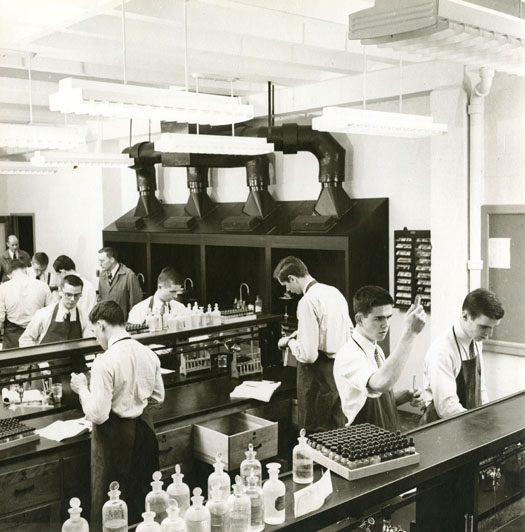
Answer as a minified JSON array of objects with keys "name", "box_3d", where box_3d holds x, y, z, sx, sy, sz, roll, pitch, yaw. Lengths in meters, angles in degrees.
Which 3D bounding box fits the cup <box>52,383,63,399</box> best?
[{"name":"cup","box_3d":[-1.411,0.861,4.855,0.066,0.108,0.080,1,11,-6]}]

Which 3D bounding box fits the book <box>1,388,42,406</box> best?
[{"name":"book","box_3d":[-1.645,0.911,4.879,0.153,0.066,0.177,2,1,-10]}]

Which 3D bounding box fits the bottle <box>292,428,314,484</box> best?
[{"name":"bottle","box_3d":[0.180,0.852,3.246,0.099,0.245,0.175,-3,4,4]}]

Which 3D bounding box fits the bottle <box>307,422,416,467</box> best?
[{"name":"bottle","box_3d":[0.455,0.826,3.291,0.459,0.092,0.344,-7,6,-21]}]

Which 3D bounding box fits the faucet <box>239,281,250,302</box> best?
[{"name":"faucet","box_3d":[-0.237,0.345,9.109,0.139,0.251,0.085,-4,4,-12]}]

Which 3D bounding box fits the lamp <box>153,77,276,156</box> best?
[{"name":"lamp","box_3d":[-0.401,-1.059,5.433,1.587,0.358,0.177,-11,11,-40]}]

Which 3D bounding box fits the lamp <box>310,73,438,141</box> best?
[{"name":"lamp","box_3d":[0.923,-1.134,5.215,0.820,0.424,2.009,-3,6,16]}]

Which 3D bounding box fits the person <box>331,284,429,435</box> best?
[{"name":"person","box_3d":[0.609,0.584,3.922,0.422,0.864,0.784,-3,5,6]}]

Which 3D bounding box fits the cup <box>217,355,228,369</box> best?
[{"name":"cup","box_3d":[-0.337,0.797,5.945,0.078,0.126,0.089,3,6,24]}]
